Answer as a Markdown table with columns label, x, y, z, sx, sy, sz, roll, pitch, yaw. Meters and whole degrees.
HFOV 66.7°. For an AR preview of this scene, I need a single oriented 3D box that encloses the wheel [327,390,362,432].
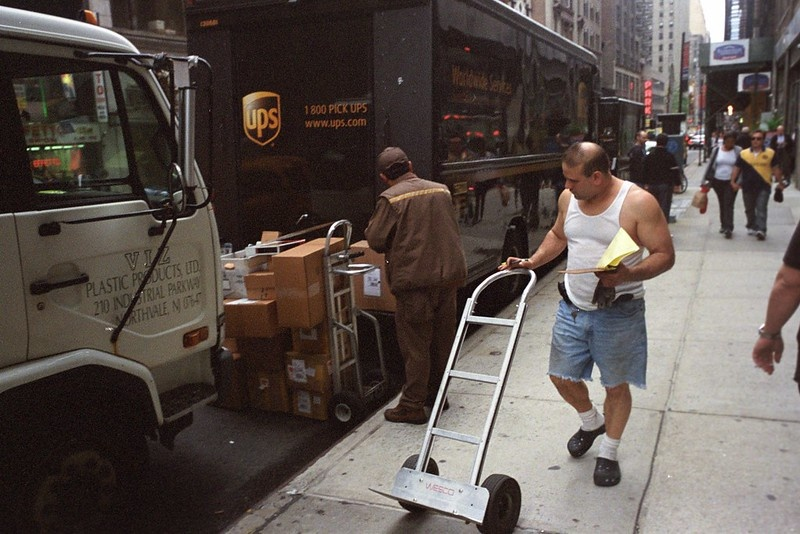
| label | x | y | z | sx | sy | sz | roll | pitch | yaw |
| --- | --- | --- | --- | --- | --- | --- | --- | --- | --- |
| wheel | -0.535 | 1.392 | 5.980 | 0.341 | 0.391 | 0.138 | 2 | 11 | 25 |

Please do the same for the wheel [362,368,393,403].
| label | x | y | z | sx | sy | sz | roll | pitch | yaw |
| --- | --- | --- | --- | --- | --- | --- | --- | --- | --- |
| wheel | -0.235 | 1.224 | 6.288 | 0.284 | 0.328 | 0.380 | -2 | -2 | 0 |

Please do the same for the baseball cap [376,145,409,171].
| label | x | y | z | sx | sy | sz | roll | pitch | yaw |
| --- | --- | --- | --- | --- | --- | --- | --- | --- | --- |
| baseball cap | -0.066 | -1.072 | 5.867 | 0.204 | 0.168 | 0.309 | -8 | 19 | 23 |

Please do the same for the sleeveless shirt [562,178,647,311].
| label | x | y | z | sx | sy | sz | roll | pitch | yaw |
| --- | --- | --- | --- | --- | --- | --- | --- | --- | --- |
| sleeveless shirt | 1.551 | -0.169 | 4.795 | 0.544 | 1.033 | 0.652 | 10 | -8 | -33 |

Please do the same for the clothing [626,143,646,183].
| label | x | y | z | sx | sy | sz | roll | pitch | yaw |
| --- | --- | --- | --- | --- | --- | --- | --- | --- | --- |
| clothing | 5.411 | -2.384 | 14.121 | 0.547 | 0.849 | 0.418 | 15 | 26 | 43 |

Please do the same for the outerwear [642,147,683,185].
| label | x | y | z | sx | sy | sz | roll | pitch | yaw |
| --- | --- | --- | --- | --- | --- | --- | --- | --- | --- |
| outerwear | 5.261 | -1.996 | 12.268 | 0.512 | 0.988 | 0.852 | -14 | 19 | -36 |

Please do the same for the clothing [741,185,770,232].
| label | x | y | z | sx | sy | sz | roll | pitch | yaw |
| --- | --- | --- | --- | --- | --- | --- | --- | --- | --- |
| clothing | 7.075 | -1.224 | 12.158 | 0.340 | 1.125 | 0.469 | -12 | 13 | -29 |

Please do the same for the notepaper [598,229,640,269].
| label | x | y | z | sx | sy | sz | roll | pitch | yaw |
| --- | --- | --- | --- | --- | --- | --- | --- | --- | --- |
| notepaper | 1.512 | -0.092 | 4.224 | 0.262 | 0.276 | 0.098 | 43 | 14 | 36 |

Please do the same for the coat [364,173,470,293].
| label | x | y | z | sx | sy | sz | roll | pitch | yaw |
| --- | --- | --- | --- | --- | --- | --- | --- | --- | --- |
| coat | 0.372 | -0.233 | 5.889 | 0.862 | 1.086 | 0.608 | -8 | -17 | 9 |

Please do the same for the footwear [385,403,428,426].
| label | x | y | z | sx | sy | sz | roll | pitch | yaw |
| --- | --- | --- | --- | --- | --- | --- | --- | --- | --- |
| footwear | 0.050 | 1.382 | 5.840 | 0.361 | 0.184 | 0.191 | 5 | 6 | 22 |

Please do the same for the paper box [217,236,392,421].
| label | x | y | z | sx | sy | sz | roll | pitch | yaw |
| --- | --- | --- | --- | --- | --- | --- | --- | --- | --- |
| paper box | -0.982 | 0.487 | 6.815 | 1.998 | 2.263 | 1.257 | 7 | 12 | 28 |
